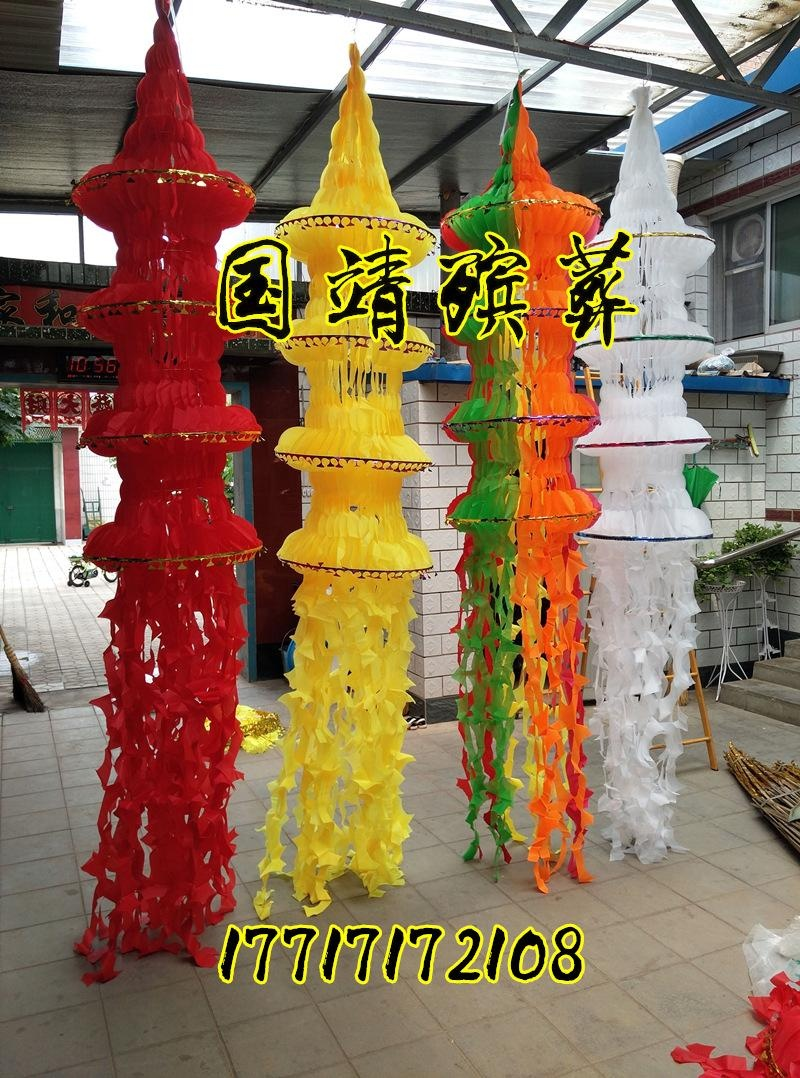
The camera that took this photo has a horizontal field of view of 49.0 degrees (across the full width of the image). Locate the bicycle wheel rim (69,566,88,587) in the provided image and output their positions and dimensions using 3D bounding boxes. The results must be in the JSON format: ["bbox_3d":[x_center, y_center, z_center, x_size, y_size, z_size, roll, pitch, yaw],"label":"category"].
[{"bbox_3d":[-4.748,0.562,12.881,0.350,0.293,0.074,7,15,16],"label":"bicycle wheel rim"}]

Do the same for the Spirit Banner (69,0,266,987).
[{"bbox_3d":[-0.783,-0.147,2.883,0.636,3.132,0.403,-2,5,-17],"label":"Spirit Banner"}]

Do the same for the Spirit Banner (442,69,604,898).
[{"bbox_3d":[0.485,-0.183,3.531,0.639,3.120,0.530,0,5,1],"label":"Spirit Banner"}]

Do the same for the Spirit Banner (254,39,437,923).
[{"bbox_3d":[-0.219,-0.165,3.204,0.659,3.090,0.536,-4,6,-38],"label":"Spirit Banner"}]
